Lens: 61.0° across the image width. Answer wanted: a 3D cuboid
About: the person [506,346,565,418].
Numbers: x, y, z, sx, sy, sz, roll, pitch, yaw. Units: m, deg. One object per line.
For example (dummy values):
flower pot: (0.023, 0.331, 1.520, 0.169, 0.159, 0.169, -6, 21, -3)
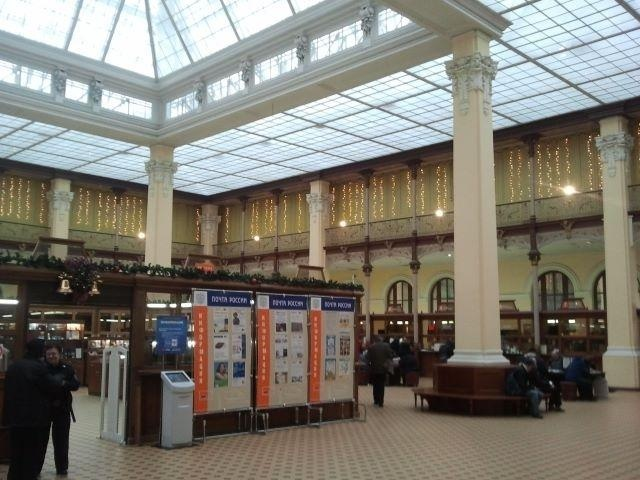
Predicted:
person: (4.921, 3.333, 12.478, 0.900, 1.383, 1.899, -1, -2, 34)
